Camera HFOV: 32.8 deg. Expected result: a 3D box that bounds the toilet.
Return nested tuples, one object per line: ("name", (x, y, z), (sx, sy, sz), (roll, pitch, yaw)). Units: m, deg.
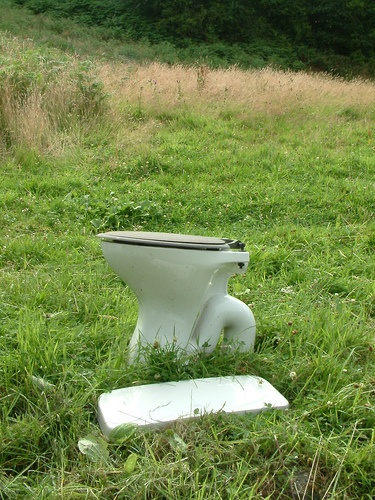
("toilet", (-0.049, 0.242, 2.749), (0.762, 0.579, 0.365), (2, -1, -9))
